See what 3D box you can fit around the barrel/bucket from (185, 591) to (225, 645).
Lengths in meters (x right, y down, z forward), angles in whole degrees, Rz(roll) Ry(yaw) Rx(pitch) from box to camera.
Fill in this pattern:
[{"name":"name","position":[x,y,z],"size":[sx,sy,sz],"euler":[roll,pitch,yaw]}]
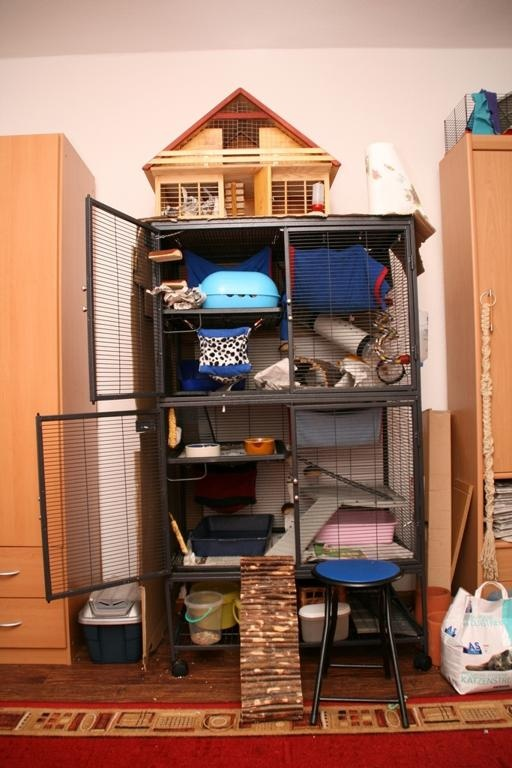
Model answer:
[{"name":"barrel/bucket","position":[-0.197,0.888,2.695],"size":[0.176,0.148,0.164],"euler":[-1,-6,0]}]

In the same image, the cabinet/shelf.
[{"name":"cabinet/shelf","position":[-0.062,0.019,2.883],"size":[1.579,2.064,0.971],"euler":[-3,9,-3]}]

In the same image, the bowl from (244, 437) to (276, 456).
[{"name":"bowl","position":[0.011,0.234,2.737],"size":[0.109,0.055,0.174],"euler":[-2,8,-4]}]

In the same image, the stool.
[{"name":"stool","position":[0.334,0.858,2.495],"size":[0.467,0.635,0.449],"euler":[0,-6,8]}]

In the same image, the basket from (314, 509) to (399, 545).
[{"name":"basket","position":[0.402,0.572,2.808],"size":[0.242,0.076,0.164],"euler":[-1,-4,-3]}]
